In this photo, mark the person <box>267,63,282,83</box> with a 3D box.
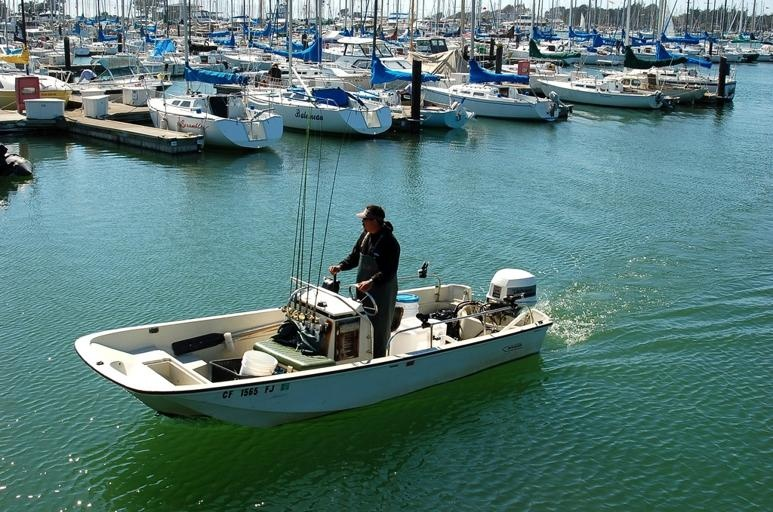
[{"bbox_3d":[-5.601,-9.355,32.808,0.637,0.956,2.315,-2,12,-9],"label":"person"}]

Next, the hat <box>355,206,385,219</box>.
[{"bbox_3d":[-0.221,-0.619,9.040,0.389,0.139,0.234,3,8,-6],"label":"hat"}]

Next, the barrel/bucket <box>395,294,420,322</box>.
[{"bbox_3d":[0.383,0.795,10.614,0.469,0.347,0.348,1,3,20],"label":"barrel/bucket"}]

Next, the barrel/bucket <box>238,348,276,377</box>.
[{"bbox_3d":[-1.750,1.465,8.806,0.424,0.254,0.410,17,3,-1],"label":"barrel/bucket"}]
